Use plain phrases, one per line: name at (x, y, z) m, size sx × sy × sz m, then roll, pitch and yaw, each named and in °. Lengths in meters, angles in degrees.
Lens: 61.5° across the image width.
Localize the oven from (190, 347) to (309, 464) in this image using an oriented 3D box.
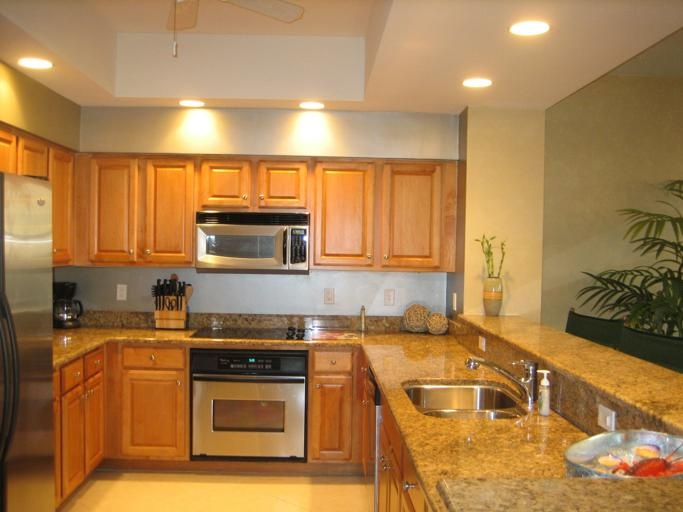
oven at (-0.711, 1.082, 4.432) m, size 0.871 × 0.785 × 0.570 m, roll 2°, pitch -1°, yaw -5°

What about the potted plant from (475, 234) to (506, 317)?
potted plant at (1.099, 0.139, 4.234) m, size 0.222 × 0.579 × 0.247 m, roll 0°, pitch 9°, yaw 9°

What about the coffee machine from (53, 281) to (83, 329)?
coffee machine at (-2.152, 0.383, 4.493) m, size 0.333 × 0.326 × 0.267 m, roll -2°, pitch 6°, yaw -38°

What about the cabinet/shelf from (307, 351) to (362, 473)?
cabinet/shelf at (-0.045, 1.079, 4.211) m, size 0.405 × 0.817 × 0.141 m, roll -1°, pitch 9°, yaw 2°

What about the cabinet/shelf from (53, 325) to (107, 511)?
cabinet/shelf at (-1.753, 1.042, 3.838) m, size 0.208 × 0.890 × 0.781 m, roll -2°, pitch 9°, yaw -7°

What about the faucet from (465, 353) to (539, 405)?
faucet at (0.894, 0.617, 3.180) m, size 0.115 × 0.211 × 0.546 m, roll 1°, pitch 6°, yaw -10°

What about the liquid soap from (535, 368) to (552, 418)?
liquid soap at (1.014, 0.656, 2.882) m, size 0.068 × 0.224 × 0.206 m, roll 2°, pitch 9°, yaw 19°
